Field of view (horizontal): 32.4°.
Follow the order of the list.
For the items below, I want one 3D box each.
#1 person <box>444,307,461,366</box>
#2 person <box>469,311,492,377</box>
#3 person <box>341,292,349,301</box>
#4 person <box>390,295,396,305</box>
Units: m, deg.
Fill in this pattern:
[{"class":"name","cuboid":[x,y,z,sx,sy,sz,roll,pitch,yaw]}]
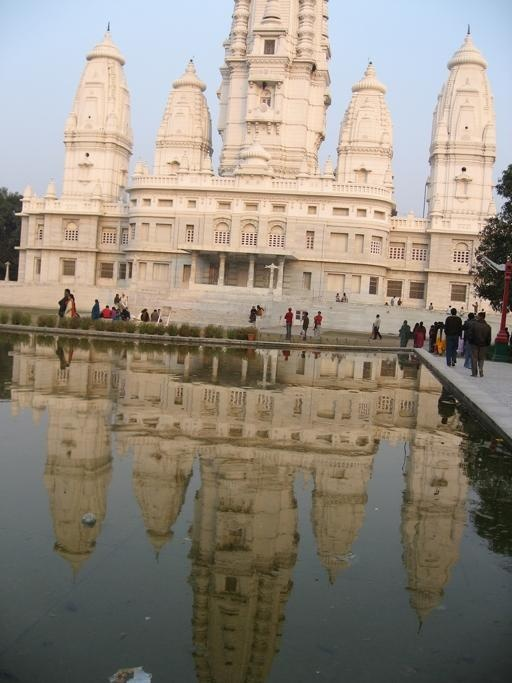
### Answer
[{"class":"person","cuboid":[4.530,0.002,20.344,0.378,1.182,0.700,3,3,13]},{"class":"person","cuboid":[4.414,0.056,17.484,0.419,1.284,0.412,5,-3,-14]},{"class":"person","cuboid":[5.191,-2.600,51.689,0.364,0.479,0.734,0,25,2]},{"class":"person","cuboid":[8.687,-2.606,56.033,0.420,0.688,1.217,0,-19,7]}]
